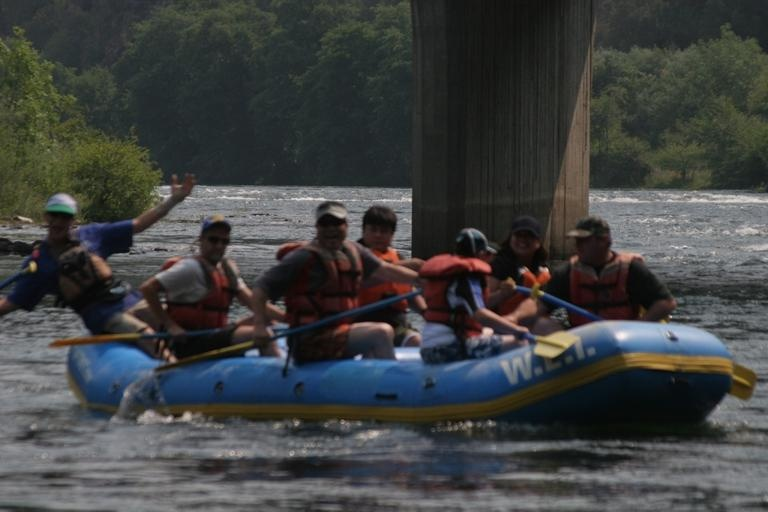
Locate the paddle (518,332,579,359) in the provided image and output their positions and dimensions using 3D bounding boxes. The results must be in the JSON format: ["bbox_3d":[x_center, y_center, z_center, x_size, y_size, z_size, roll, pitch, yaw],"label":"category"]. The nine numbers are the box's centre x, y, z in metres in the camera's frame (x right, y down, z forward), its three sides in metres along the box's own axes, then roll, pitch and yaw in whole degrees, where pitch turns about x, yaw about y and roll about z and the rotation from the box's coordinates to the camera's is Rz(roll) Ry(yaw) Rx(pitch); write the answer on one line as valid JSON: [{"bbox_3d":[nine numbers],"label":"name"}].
[{"bbox_3d":[3.812,2.055,32.726,0.951,0.593,0.333,3,13,7],"label":"paddle"}]
